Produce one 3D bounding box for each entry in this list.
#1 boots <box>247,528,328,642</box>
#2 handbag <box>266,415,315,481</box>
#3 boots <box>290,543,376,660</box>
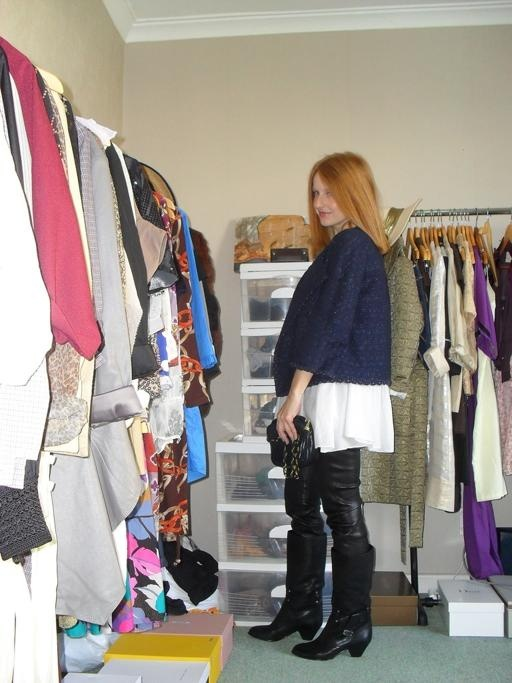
[{"bbox_3d":[0.094,0.733,1.788,0.210,0.320,0.106,4,-1,2],"label":"boots"},{"bbox_3d":[0.109,0.293,1.667,0.066,0.177,0.136,0,8,-36],"label":"handbag"},{"bbox_3d":[0.217,0.740,1.684,0.231,0.302,0.110,2,-8,-3],"label":"boots"}]
